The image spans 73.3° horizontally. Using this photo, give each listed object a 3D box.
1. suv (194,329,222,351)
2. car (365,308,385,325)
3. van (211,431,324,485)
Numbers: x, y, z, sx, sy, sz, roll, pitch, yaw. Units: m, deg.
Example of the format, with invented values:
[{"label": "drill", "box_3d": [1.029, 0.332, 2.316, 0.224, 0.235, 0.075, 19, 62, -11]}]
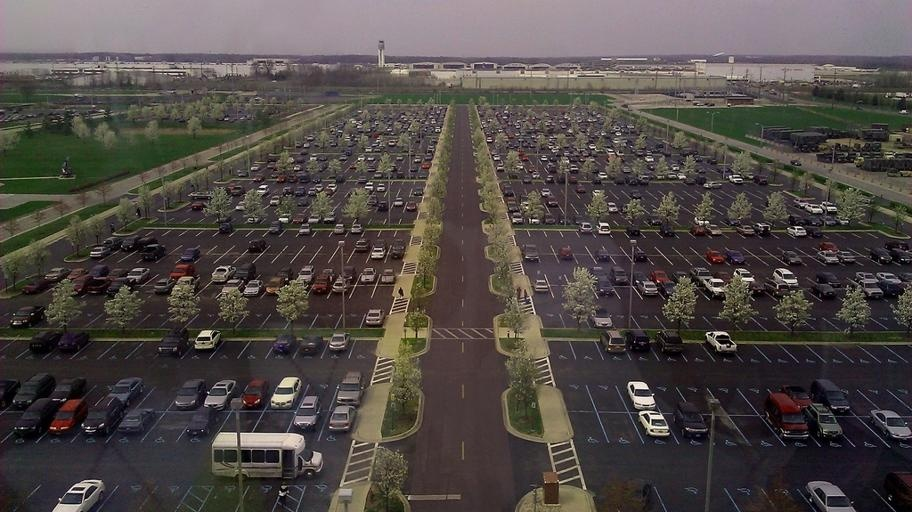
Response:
[{"label": "suv", "box_3d": [-29.897, 10.276, 73.948, 1.701, 1.228, 3.613, 2, 16, -6]}, {"label": "car", "box_3d": [-10.456, 7.930, 79.260, 2.626, 1.555, 2.427, 0, 30, -6]}, {"label": "van", "box_3d": [-18.245, 19.365, 58.930, 9.887, 3.612, 2.613, 2, 30, -1]}]
